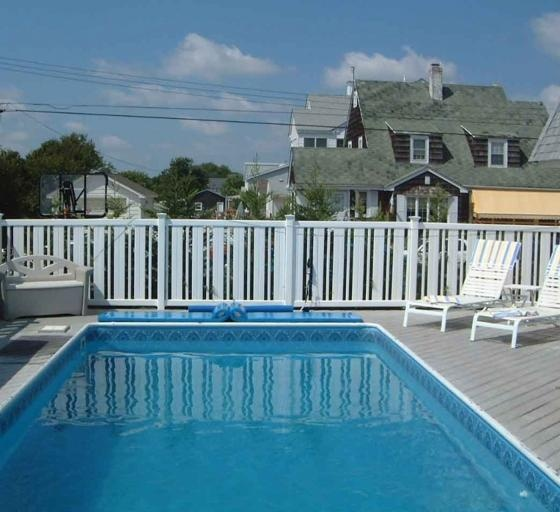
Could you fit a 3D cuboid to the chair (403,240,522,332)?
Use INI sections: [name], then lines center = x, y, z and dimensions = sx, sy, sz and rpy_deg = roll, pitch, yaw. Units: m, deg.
[chair]
center = 2.819, 0.415, 12.308
dimensions = 2.537, 1.957, 1.061
rpy_deg = -3, 5, -37
